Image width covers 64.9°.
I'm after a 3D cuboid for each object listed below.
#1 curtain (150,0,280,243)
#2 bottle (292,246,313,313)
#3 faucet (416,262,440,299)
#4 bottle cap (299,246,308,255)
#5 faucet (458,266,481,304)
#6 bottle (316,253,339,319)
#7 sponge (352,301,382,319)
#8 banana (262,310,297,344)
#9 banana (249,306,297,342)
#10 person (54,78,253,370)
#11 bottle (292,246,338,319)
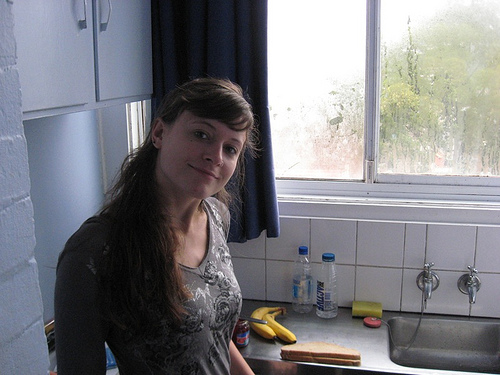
[{"bbox_3d":[-0.176,-0.310,1.900,0.636,1.170,0.250,3,8,16],"label":"curtain"},{"bbox_3d":[0.269,0.485,2.002,0.105,0.285,0.087,2,8,8],"label":"bottle"},{"bbox_3d":[0.856,0.447,1.915,0.106,0.167,0.085,-4,9,-32],"label":"faucet"},{"bbox_3d":[0.259,0.308,1.921,0.033,0.026,0.035,0,1,0],"label":"bottle cap"},{"bbox_3d":[1.022,0.452,1.856,0.091,0.160,0.090,2,16,27],"label":"faucet"},{"bbox_3d":[0.385,0.507,1.961,0.107,0.264,0.111,1,8,0],"label":"bottle"},{"bbox_3d":[0.567,0.608,1.938,0.135,0.063,0.079,3,8,13],"label":"sponge"},{"bbox_3d":[0.120,0.659,1.905,0.126,0.060,0.310,7,2,0],"label":"banana"},{"bbox_3d":[0.120,0.639,1.892,0.219,0.086,0.291,2,8,10],"label":"banana"},{"bbox_3d":[-0.255,0.126,1.093,0.519,0.847,0.317,-4,9,-30],"label":"person"},{"bbox_3d":[0.326,0.463,1.966,0.227,0.349,0.110,2,8,10],"label":"bottle"}]
